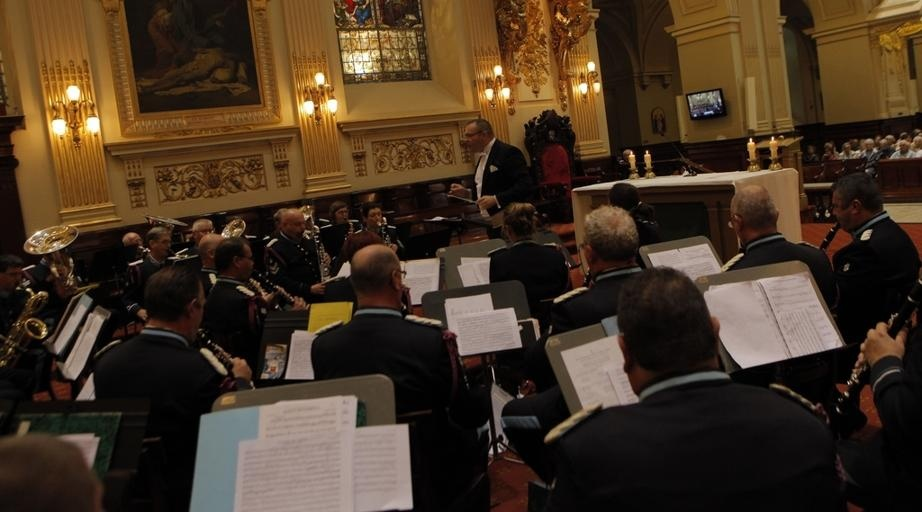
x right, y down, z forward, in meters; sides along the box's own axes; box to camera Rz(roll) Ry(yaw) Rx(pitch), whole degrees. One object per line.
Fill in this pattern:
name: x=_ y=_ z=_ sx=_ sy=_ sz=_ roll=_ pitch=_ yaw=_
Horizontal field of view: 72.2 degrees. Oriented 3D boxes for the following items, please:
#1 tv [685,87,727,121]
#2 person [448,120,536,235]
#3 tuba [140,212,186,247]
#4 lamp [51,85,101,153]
tv: x=6.198 y=-3.795 z=15.859 sx=0.130 sy=0.673 sz=0.943 roll=-19 pitch=12 yaw=-41
person: x=0.427 y=-0.692 z=8.122 sx=0.752 sy=2.030 sz=1.078 roll=-13 pitch=16 yaw=-28
tuba: x=-4.894 y=-0.527 z=10.518 sx=0.832 sy=0.293 sz=0.804 roll=6 pitch=5 yaw=-39
lamp: x=-6.602 y=-2.322 z=10.741 sx=0.651 sy=1.031 sz=0.387 roll=-10 pitch=20 yaw=-25
